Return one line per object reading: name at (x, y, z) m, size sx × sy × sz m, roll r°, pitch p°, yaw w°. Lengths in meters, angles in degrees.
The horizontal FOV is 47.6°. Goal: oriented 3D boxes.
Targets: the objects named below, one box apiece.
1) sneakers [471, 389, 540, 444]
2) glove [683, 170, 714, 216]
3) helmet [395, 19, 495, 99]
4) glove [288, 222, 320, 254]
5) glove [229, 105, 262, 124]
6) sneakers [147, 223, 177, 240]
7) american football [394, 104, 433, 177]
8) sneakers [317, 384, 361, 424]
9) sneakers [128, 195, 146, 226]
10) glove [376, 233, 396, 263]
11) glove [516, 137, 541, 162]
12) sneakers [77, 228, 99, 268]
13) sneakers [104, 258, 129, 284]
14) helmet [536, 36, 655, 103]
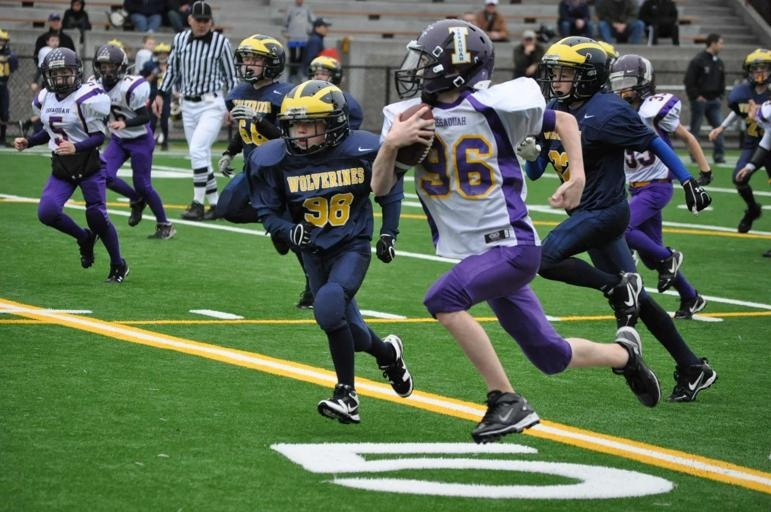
sneakers at (0.657, 0.892, 4.760) m, size 0.331 × 0.288 × 0.193 m, roll 4°, pitch 12°, yaw 12°
glove at (2.112, -0.423, 6.090) m, size 0.211 × 0.316 × 0.122 m, roll 9°, pitch -37°, yaw -31°
helmet at (0.343, -1.123, 5.037) m, size 0.564 × 0.428 × 0.409 m, roll 1°, pitch 5°, yaw 6°
glove at (-0.505, -0.110, 5.384) m, size 0.153 × 0.211 × 0.237 m, roll 4°, pitch 12°, yaw 9°
glove at (-1.301, -1.344, 8.117) m, size 0.291 × 0.127 × 0.189 m, roll 0°, pitch -1°, yaw -15°
sneakers at (-2.707, -0.327, 10.708) m, size 0.403 × 0.193 × 0.143 m, roll -2°, pitch 16°, yaw 8°
american football at (0.141, -0.608, 4.753) m, size 0.204 × 0.323 × 0.248 m, roll 24°, pitch 35°, yaw -11°
sneakers at (-0.275, 0.910, 5.264) m, size 0.242 × 0.270 × 0.322 m, roll 2°, pitch 12°, yaw -1°
sneakers at (-3.096, -0.568, 10.868) m, size 0.200 × 0.451 × 0.165 m, roll -2°, pitch 36°, yaw -9°
glove at (0.005, -0.056, 5.515) m, size 0.098 × 0.200 × 0.180 m, roll 2°, pitch 12°, yaw 3°
glove at (0.876, -0.649, 5.368) m, size 0.144 × 0.162 × 0.133 m, roll -16°, pitch -4°, yaw -2°
sneakers at (-2.936, -0.091, 8.771) m, size 0.152 × 0.436 × 0.223 m, roll 11°, pitch 21°, yaw 28°
sneakers at (-2.639, 0.117, 8.589) m, size 0.192 × 0.208 × 0.252 m, roll -2°, pitch 13°, yaw -16°
helmet at (1.455, -1.342, 6.268) m, size 0.591 × 0.439 × 0.474 m, roll 5°, pitch 5°, yaw 4°
